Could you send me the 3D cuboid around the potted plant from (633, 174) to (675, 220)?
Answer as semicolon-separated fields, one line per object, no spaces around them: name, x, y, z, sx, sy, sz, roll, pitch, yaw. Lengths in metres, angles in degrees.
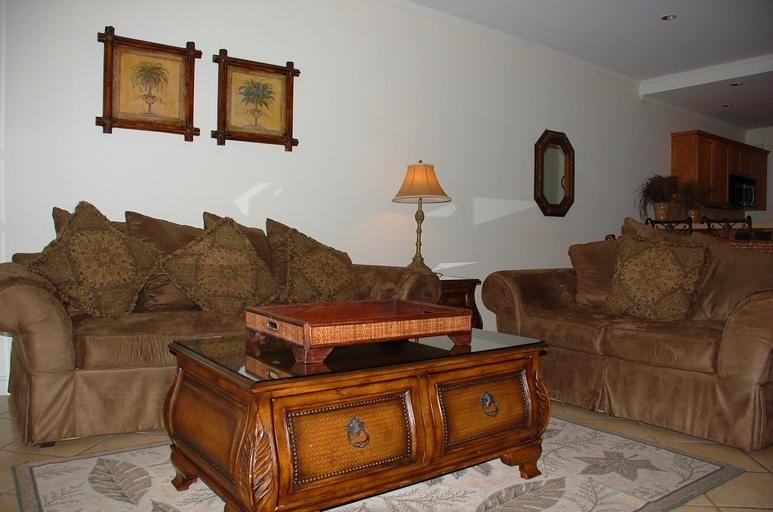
potted plant;3.382;-0.701;7.042;0.558;0.561;0.540;0;-2;-18

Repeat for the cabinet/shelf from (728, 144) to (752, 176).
cabinet/shelf;5.309;-1.426;8.280;0.194;0.419;0.836;14;18;41

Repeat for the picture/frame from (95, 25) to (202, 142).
picture/frame;-1.826;-1.298;4.147;0.949;0.907;0.075;-1;5;-33

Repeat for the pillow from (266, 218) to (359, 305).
pillow;-0.433;0.105;4.192;0.827;0.215;0.810;-32;-18;33

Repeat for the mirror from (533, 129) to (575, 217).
mirror;1.886;-0.912;6.185;0.662;0.956;0.216;-10;18;-38

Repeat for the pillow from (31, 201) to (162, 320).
pillow;-1.794;0.017;3.593;0.636;0.615;0.191;0;6;9

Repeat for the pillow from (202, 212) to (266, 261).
pillow;-1.071;-0.083;4.169;0.425;0.393;0.135;15;-44;-33

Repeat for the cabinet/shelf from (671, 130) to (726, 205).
cabinet/shelf;4.172;-1.203;7.431;1.218;0.992;0.420;0;1;-40
